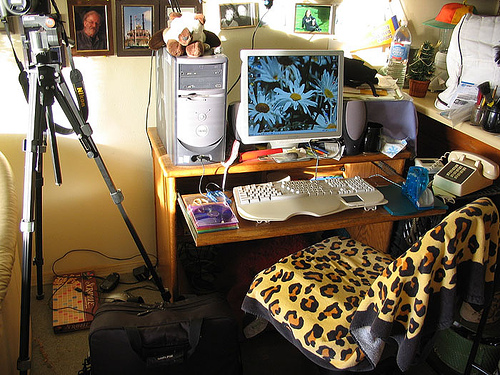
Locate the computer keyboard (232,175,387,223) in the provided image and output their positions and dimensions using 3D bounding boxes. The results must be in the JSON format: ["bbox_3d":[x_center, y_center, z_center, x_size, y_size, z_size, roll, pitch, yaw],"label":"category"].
[{"bbox_3d":[0.286,0.049,1.799,0.705,0.119,0.389,-5,17,-11],"label":"computer keyboard"}]

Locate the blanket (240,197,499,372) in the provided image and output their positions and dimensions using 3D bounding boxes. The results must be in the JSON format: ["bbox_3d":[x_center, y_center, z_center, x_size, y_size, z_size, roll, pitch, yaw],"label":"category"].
[{"bbox_3d":[0.446,0.322,1.479,0.656,0.605,0.818,-24,32,-39],"label":"blanket"}]

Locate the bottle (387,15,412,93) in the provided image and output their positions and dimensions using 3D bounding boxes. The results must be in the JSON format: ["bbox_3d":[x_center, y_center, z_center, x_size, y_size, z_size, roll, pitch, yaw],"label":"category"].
[{"bbox_3d":[0.952,-0.864,2.372,0.106,0.422,0.293,10,26,27],"label":"bottle"}]

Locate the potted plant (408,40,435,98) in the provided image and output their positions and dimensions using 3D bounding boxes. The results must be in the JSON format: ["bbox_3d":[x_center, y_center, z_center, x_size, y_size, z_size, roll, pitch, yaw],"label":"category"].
[{"bbox_3d":[1.073,-0.734,2.332,0.136,0.340,0.111,9,25,25],"label":"potted plant"}]
